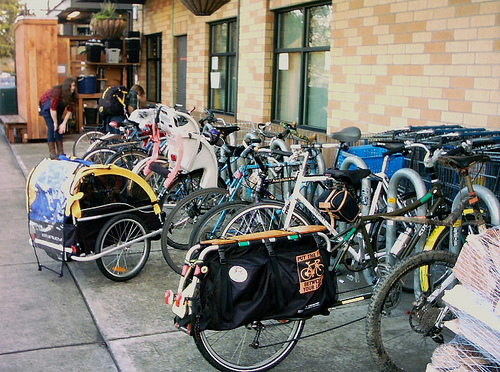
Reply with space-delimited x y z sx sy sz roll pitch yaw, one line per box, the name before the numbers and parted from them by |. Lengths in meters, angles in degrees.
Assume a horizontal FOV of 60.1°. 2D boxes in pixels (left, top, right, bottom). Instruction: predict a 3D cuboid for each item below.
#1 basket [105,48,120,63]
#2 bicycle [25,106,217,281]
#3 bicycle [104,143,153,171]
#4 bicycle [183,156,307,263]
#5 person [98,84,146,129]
basket | -4.522 -4.289 14.362 0.575 0.549 0.411 -2 20 -20
bicycle | -1.267 0.005 4.666 1.182 1.469 1.964 11 19 42
bicycle | -1.839 -0.413 6.408 0.341 0.292 0.623 8 15 30
bicycle | -0.171 0.175 3.810 1.369 0.830 0.669 -1 14 -28
person | -2.817 -1.816 9.248 0.646 0.852 0.923 10 8 33
